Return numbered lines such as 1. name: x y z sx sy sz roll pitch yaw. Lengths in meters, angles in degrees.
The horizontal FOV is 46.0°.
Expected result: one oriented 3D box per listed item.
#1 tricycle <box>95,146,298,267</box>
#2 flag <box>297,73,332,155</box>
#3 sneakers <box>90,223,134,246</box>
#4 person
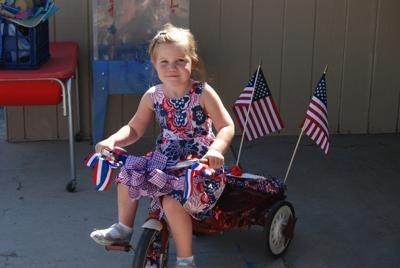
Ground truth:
1. tricycle: 0.008 0.497 3.552 1.170 0.731 0.820 -2 5 -30
2. flag: 0.923 -0.171 3.711 0.211 0.634 0.240 5 11 14
3. sneakers: -0.599 0.671 3.157 0.238 0.118 0.133 9 6 -13
4. person: -0.222 0.121 3.280 0.891 1.708 0.576 3 11 3
